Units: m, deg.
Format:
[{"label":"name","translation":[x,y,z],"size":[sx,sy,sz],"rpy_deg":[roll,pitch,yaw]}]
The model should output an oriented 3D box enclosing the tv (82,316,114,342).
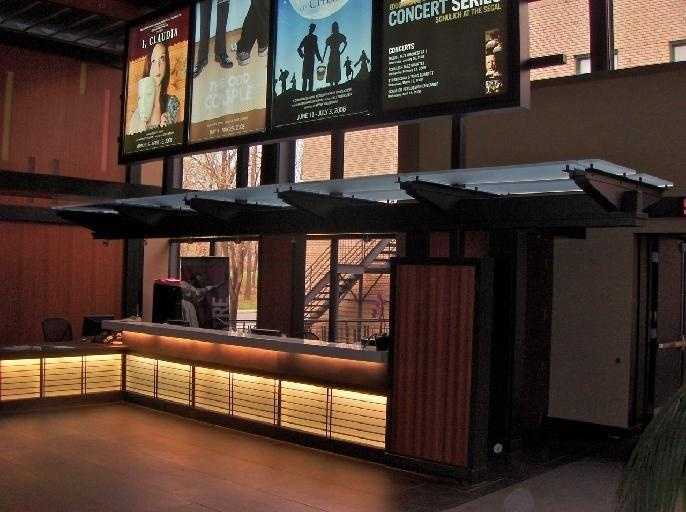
[{"label":"tv","translation":[-3.935,1.185,10.650],"size":[0.468,0.394,0.255],"rpy_deg":[0,7,-43]}]
